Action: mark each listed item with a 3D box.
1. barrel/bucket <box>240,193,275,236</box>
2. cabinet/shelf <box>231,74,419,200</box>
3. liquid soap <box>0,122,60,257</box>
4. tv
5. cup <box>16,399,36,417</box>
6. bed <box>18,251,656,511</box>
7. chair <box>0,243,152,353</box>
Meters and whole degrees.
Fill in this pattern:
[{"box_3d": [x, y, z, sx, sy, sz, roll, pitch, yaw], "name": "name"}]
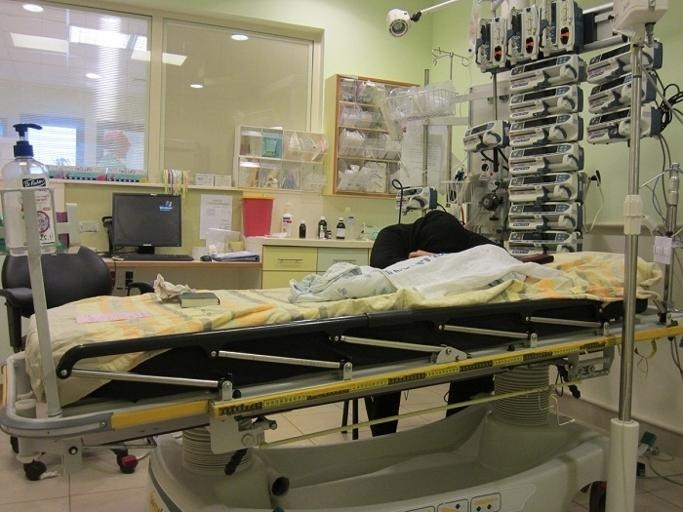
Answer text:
[{"box_3d": [-0.769, -0.393, 5.042, 0.418, 0.463, 0.322, -1, 11, -14], "name": "barrel/bucket"}, {"box_3d": [-0.176, -1.039, 5.001, 1.399, 0.824, 0.227, 0, 3, -13], "name": "cabinet/shelf"}, {"box_3d": [-0.992, -0.185, 1.766, 0.145, 0.347, 0.186, -7, 15, -28], "name": "liquid soap"}, {"box_3d": [-1.584, -0.270, 4.501, 0.530, 0.420, 0.186, 0, -4, -20], "name": "tv"}, {"box_3d": [-0.998, 0.480, 1.775, 0.056, 0.056, 0.054, 3, 13, -1], "name": "cup"}, {"box_3d": [-0.104, 0.204, 2.157, 1.250, 0.426, 1.206, -6, 9, -23], "name": "bed"}, {"box_3d": [-1.611, 0.150, 3.512, 0.799, 0.843, 0.716, -3, 2, -41], "name": "chair"}]
